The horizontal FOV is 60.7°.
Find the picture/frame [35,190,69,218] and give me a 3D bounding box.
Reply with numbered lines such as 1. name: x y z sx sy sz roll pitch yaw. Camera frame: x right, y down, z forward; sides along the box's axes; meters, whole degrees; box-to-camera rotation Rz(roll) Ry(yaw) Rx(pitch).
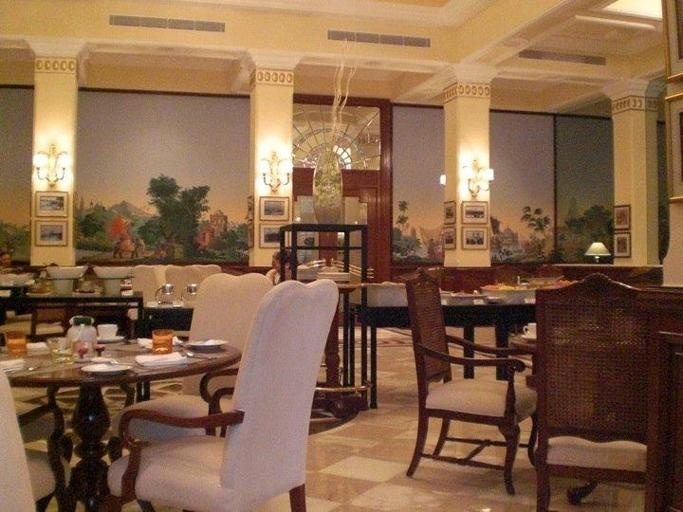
1. picture/frame: -4.853 -0.857 9.706 0.417 0.373 0.045 1 -4 -19

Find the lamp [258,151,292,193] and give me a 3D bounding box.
1. lamp: -1.224 -1.523 10.432 0.683 0.868 0.225 -1 1 -28

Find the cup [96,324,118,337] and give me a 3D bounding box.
1. cup: -1.467 0.465 3.650 0.109 0.082 0.132 0 1 -15

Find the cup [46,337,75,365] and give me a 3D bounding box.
1. cup: -1.531 0.520 3.210 0.157 0.126 0.138 0 -1 18

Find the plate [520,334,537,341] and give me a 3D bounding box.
1. plate: 1.262 0.551 3.944 0.103 0.018 0.108 0 1 9

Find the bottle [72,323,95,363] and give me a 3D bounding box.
1. bottle: -1.439 0.479 3.269 0.119 0.166 0.220 0 1 -25

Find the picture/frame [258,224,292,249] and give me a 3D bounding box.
1. picture/frame: -1.111 -0.313 9.280 0.504 0.402 0.017 1 -1 -29

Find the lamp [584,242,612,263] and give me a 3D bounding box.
1. lamp: 5.787 -0.084 13.202 0.418 0.714 0.468 0 2 16

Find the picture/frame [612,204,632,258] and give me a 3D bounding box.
1. picture/frame: 5.689 -0.499 11.831 0.238 1.079 0.530 0 1 -17

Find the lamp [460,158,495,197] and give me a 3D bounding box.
1. lamp: 2.565 -1.463 11.048 0.542 0.767 0.346 1 1 16

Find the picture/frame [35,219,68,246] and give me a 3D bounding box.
1. picture/frame: -4.835 -0.377 9.659 0.409 0.370 0.031 0 -4 -20

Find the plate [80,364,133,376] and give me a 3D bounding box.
1. plate: -1.174 0.559 2.888 0.245 0.043 0.150 0 1 -14

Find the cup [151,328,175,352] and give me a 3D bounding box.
1. cup: -1.030 0.480 3.352 0.118 0.138 0.116 1 2 0

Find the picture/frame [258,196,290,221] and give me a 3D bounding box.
1. picture/frame: -1.245 -0.857 10.468 0.420 0.374 0.030 1 -3 -26

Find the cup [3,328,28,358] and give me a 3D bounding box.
1. cup: -1.837 0.491 3.274 0.110 0.150 0.143 0 -6 -6

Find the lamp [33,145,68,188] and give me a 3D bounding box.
1. lamp: -4.791 -1.488 9.650 0.547 0.680 0.146 1 1 -7
